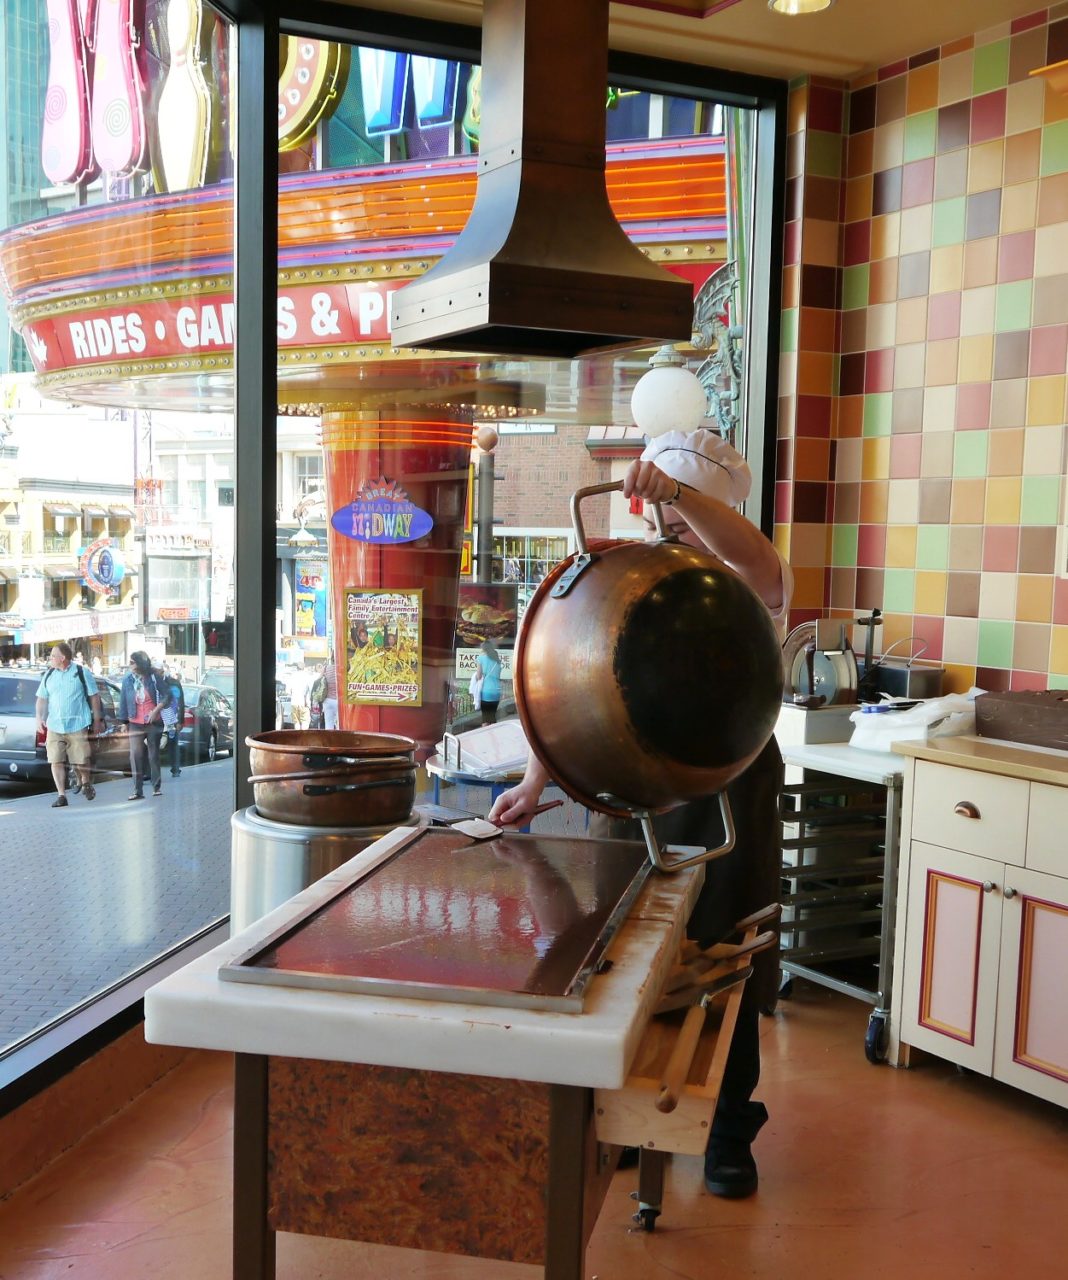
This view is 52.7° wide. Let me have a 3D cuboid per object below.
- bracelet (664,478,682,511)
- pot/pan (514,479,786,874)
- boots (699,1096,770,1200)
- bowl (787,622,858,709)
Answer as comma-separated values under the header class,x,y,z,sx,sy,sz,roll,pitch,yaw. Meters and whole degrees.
class,x,y,z,sx,sy,sz,roll,pitch,yaw
bracelet,0.174,-0.184,1.354,0.019,0.041,0.032,-2,-12,9
pot/pan,0.170,0.021,1.252,0.271,0.463,0.514,3,2,23
boots,0.399,0.968,2.087,0.067,0.118,0.196,14,-11,-12
bowl,0.842,0.072,3.145,0.105,0.248,0.195,-1,-8,-41
